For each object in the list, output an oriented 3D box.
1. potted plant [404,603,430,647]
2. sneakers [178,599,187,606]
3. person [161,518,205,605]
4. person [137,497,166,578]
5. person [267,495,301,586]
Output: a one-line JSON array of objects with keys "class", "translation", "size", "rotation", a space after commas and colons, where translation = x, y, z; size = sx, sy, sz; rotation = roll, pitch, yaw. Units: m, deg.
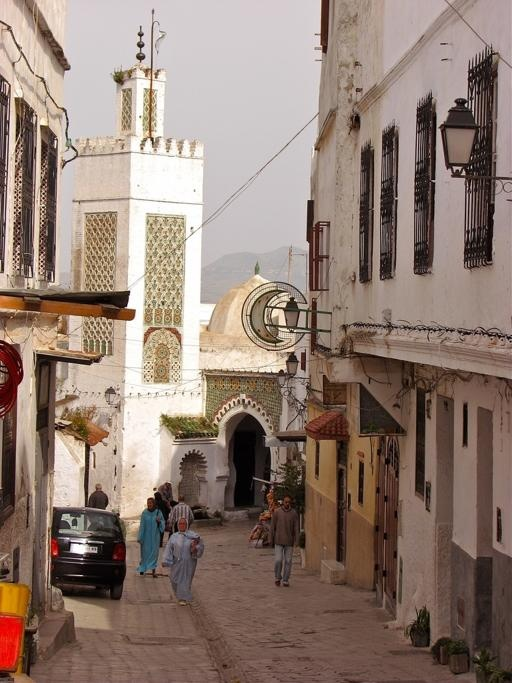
[{"class": "potted plant", "translation": [1.361, 2.330, 8.953], "size": [0.224, 0.443, 0.228], "rotation": [1, -8, 3]}, {"class": "sneakers", "translation": [-0.814, 2.883, 12.039], "size": [0.059, 0.043, 0.113], "rotation": [2, 3, -6]}, {"class": "person", "translation": [-0.814, 2.441, 11.978], "size": [0.349, 0.996, 0.291], "rotation": [-2, -32, 1]}, {"class": "person", "translation": [-1.422, 2.606, 14.605], "size": [0.261, 1.072, 0.260], "rotation": [3, 13, 1]}, {"class": "person", "translation": [0.355, 2.471, 13.411], "size": [0.342, 1.088, 0.825], "rotation": [1, -7, 2]}]
